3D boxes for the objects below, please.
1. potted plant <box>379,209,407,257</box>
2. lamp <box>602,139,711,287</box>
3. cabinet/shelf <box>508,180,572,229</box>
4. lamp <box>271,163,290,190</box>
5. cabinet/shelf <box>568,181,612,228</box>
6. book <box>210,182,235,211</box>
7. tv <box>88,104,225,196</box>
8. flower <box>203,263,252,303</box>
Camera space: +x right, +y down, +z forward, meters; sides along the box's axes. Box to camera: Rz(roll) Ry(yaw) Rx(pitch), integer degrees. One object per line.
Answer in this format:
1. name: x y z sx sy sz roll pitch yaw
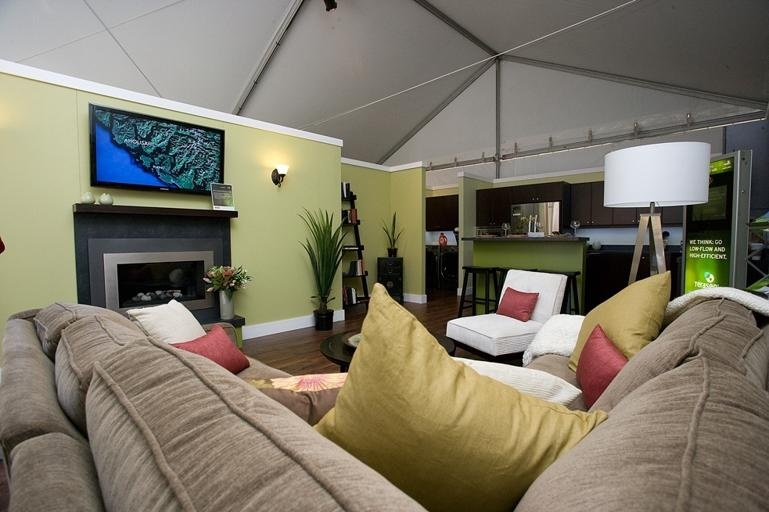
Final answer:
1. potted plant: 0.118 -0.353 8.088 0.254 0.723 0.260 -5 5 -44
2. lamp: 1.982 -0.307 3.582 0.513 0.966 0.594 -4 4 -31
3. cabinet/shelf: 2.635 -0.800 8.512 0.860 0.859 0.318 -1 2 28
4. lamp: -1.253 -0.930 5.794 0.219 0.346 0.238 4 6 43
5. cabinet/shelf: 3.461 -0.841 8.142 0.570 0.595 0.220 7 -9 9
6. book: -1.767 -0.627 5.288 0.038 0.388 0.313 -5 -1 41
7. tv: -2.293 -1.023 4.807 0.972 0.588 0.095 -3 11 -42
8. flower: -1.699 0.289 5.276 0.347 0.240 0.355 3 6 -14
